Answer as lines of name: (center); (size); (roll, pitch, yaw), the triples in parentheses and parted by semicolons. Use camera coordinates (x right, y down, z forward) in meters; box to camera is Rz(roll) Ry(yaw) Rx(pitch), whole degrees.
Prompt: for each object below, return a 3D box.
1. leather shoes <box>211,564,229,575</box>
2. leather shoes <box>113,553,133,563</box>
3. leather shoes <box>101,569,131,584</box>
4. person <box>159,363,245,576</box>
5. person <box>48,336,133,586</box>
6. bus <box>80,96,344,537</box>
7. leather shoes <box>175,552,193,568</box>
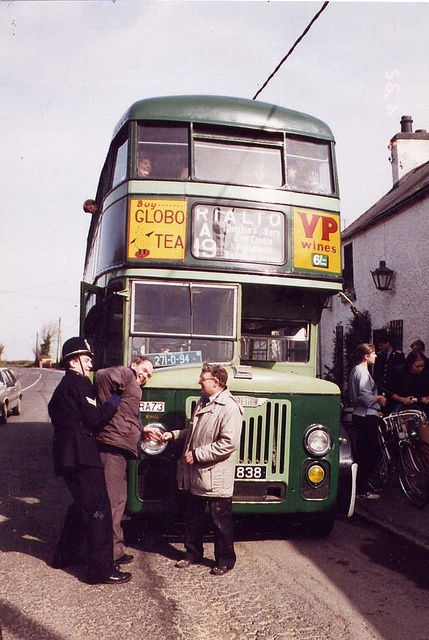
leather shoes: (0.041, 1.654, 4.277); (0.141, 0.053, 0.064); (3, -4, -27)
leather shoes: (-0.626, 1.648, 4.452); (0.051, 0.065, 0.140); (5, 5, 45)
leather shoes: (-0.629, 1.615, 4.117); (0.184, 0.092, 0.073); (-2, 1, -14)
person: (-0.072, 0.996, 4.430); (0.380, 1.390, 0.576); (4, -4, -41)
person: (-0.857, 0.906, 4.324); (0.472, 1.583, 0.649); (3, -4, -28)
bus: (-0.169, -0.225, 7.284); (1.530, 2.820, 4.890); (1, -4, -10)
leather shoes: (-0.207, 1.637, 4.388); (0.052, 0.073, 0.151); (0, -12, 14)
